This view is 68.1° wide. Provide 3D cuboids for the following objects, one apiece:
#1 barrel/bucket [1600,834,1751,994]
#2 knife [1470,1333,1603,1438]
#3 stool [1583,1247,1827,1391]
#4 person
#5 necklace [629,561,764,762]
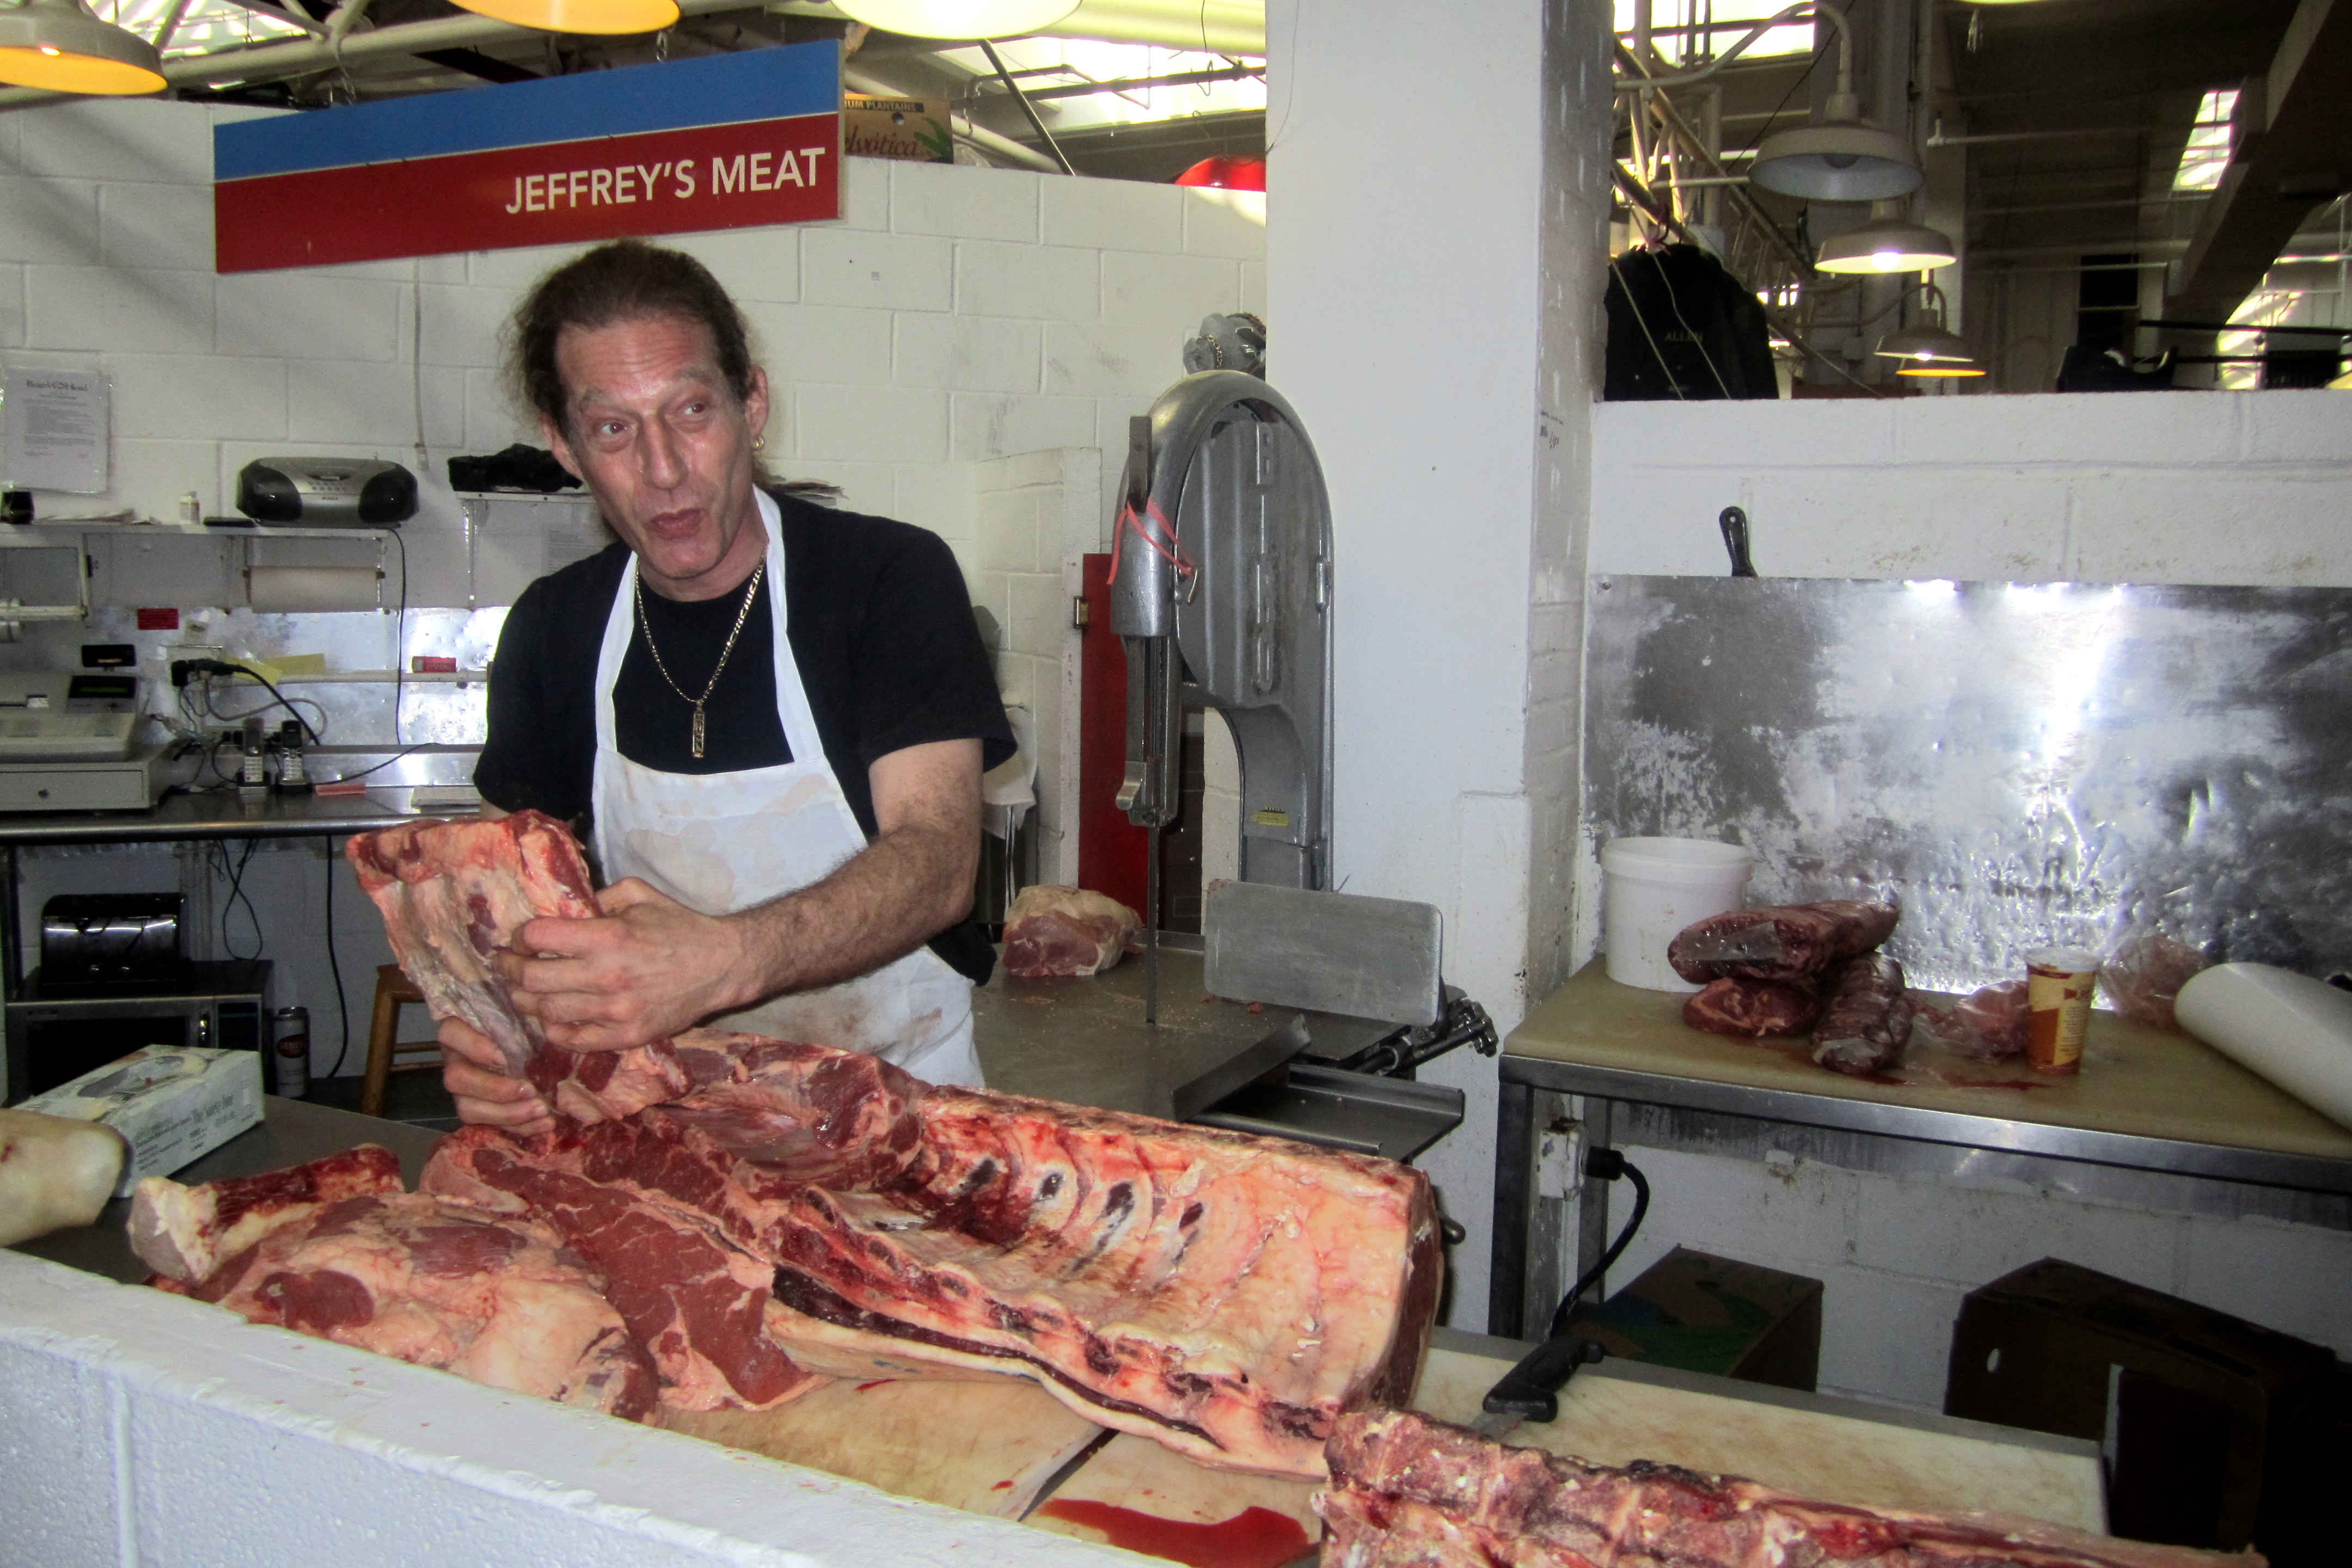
[{"bbox_3d":[1.199,0.316,4.354,0.396,0.336,0.380,0,4,0],"label":"barrel/bucket"},{"bbox_3d":[0.522,0.873,2.534,0.080,0.030,0.311,5,6,29],"label":"knife"},{"bbox_3d":[1.323,1.297,4.445,0.620,0.380,0.331,4,21,10],"label":"stool"},{"bbox_3d":[-0.749,-0.154,2.971,0.947,1.558,0.958,-3,7,-9],"label":"person"},{"bbox_3d":[-0.883,-0.240,3.150,0.014,0.384,0.200,-14,-7,26],"label":"necklace"}]
